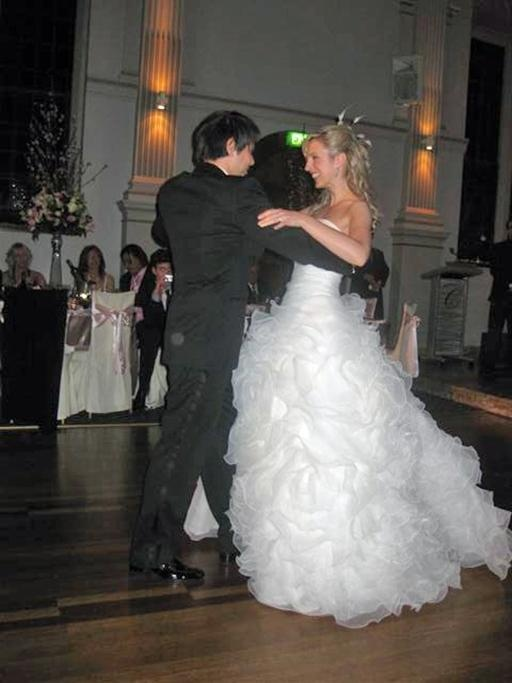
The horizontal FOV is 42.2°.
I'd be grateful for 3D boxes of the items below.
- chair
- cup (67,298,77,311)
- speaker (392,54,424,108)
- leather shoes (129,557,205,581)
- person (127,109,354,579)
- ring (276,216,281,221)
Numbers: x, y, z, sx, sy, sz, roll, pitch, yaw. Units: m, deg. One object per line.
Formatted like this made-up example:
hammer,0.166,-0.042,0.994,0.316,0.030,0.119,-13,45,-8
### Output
chair,-0.952,0.111,4.844,0.670,0.931,0.633,0,-8,-6
cup,-1.297,-0.267,4.675,0.064,0.089,0.036,7,-20,-33
speaker,1.877,-3.244,8.329,0.402,0.542,0.388,4,6,21
leather shoes,-0.313,0.756,2.276,0.283,0.118,0.095,1,-7,-3
person,-0.115,0.048,2.156,0.603,1.547,0.399,3,6,8
ring,0.062,-0.349,1.887,0.011,0.016,0.007,-7,-6,3
